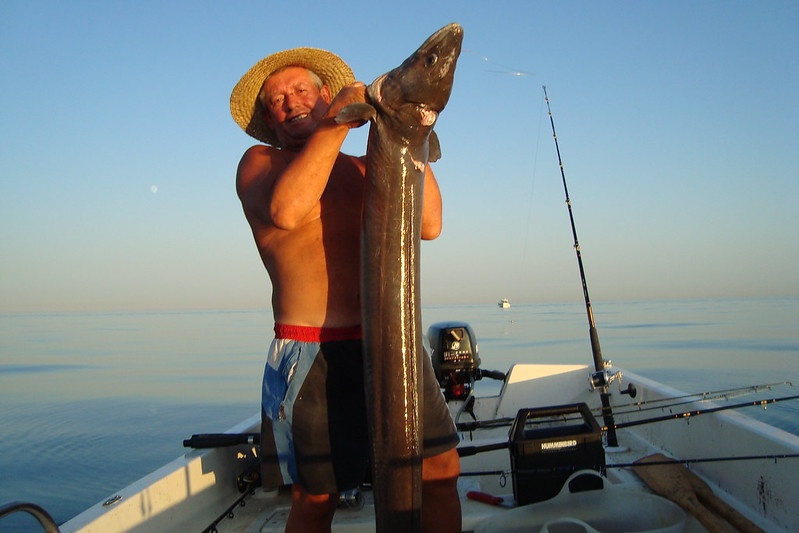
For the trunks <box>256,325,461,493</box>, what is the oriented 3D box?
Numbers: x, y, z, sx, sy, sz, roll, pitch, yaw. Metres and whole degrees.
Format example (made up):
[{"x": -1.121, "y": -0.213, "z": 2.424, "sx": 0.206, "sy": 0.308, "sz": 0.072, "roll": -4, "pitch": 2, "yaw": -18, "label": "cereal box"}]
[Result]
[{"x": -0.329, "y": 1.098, "z": 5.333, "sx": 1.921, "sy": 1.568, "sz": 1.104, "roll": -1, "pitch": 0, "yaw": 2, "label": "trunks"}]

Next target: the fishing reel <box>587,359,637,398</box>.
[{"x": 2.357, "y": 1.235, "z": 7.101, "sx": 0.563, "sy": 0.320, "sz": 0.453, "roll": 16, "pitch": -26, "yaw": 16, "label": "fishing reel"}]
